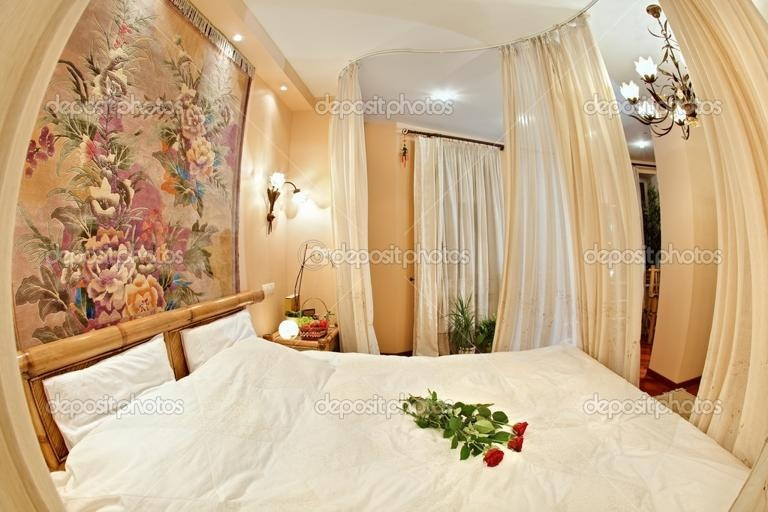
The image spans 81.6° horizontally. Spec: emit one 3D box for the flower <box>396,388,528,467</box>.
[{"bbox_3d":[0.439,0.889,2.359,0.457,0.156,0.303,14,25,31],"label":"flower"}]

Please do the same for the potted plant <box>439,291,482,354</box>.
[{"bbox_3d":[0.895,0.760,4.735,0.245,0.666,0.328,-10,-4,25],"label":"potted plant"}]

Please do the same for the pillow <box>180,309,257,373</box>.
[{"bbox_3d":[-1.077,0.546,2.838,0.087,0.294,0.369,-22,-5,29],"label":"pillow"}]

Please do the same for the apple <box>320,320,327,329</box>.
[{"bbox_3d":[-0.511,0.568,3.712,0.055,0.051,0.057,-2,-1,7],"label":"apple"}]

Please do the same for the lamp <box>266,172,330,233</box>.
[{"bbox_3d":[-0.829,-0.468,3.922,0.406,0.609,0.418,2,-2,-13],"label":"lamp"}]
